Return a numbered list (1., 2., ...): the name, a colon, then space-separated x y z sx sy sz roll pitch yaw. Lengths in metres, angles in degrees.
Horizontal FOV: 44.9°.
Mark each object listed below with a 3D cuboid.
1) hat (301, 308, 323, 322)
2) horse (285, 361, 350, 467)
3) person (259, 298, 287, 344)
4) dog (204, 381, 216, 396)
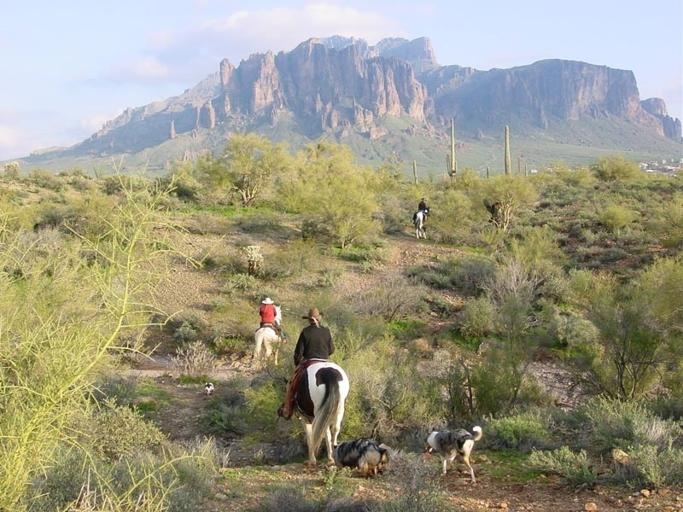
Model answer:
1. hat: -0.924 1.946 26.862 0.563 0.378 0.821 -1 11 3
2. horse: -0.496 4.481 25.057 1.190 3.560 4.305 1 -4 -5
3. person: -2.525 2.193 30.768 0.536 1.439 2.076 0 16 -3
4. dog: -4.535 4.562 28.290 0.168 0.423 0.622 3 -1 -3
